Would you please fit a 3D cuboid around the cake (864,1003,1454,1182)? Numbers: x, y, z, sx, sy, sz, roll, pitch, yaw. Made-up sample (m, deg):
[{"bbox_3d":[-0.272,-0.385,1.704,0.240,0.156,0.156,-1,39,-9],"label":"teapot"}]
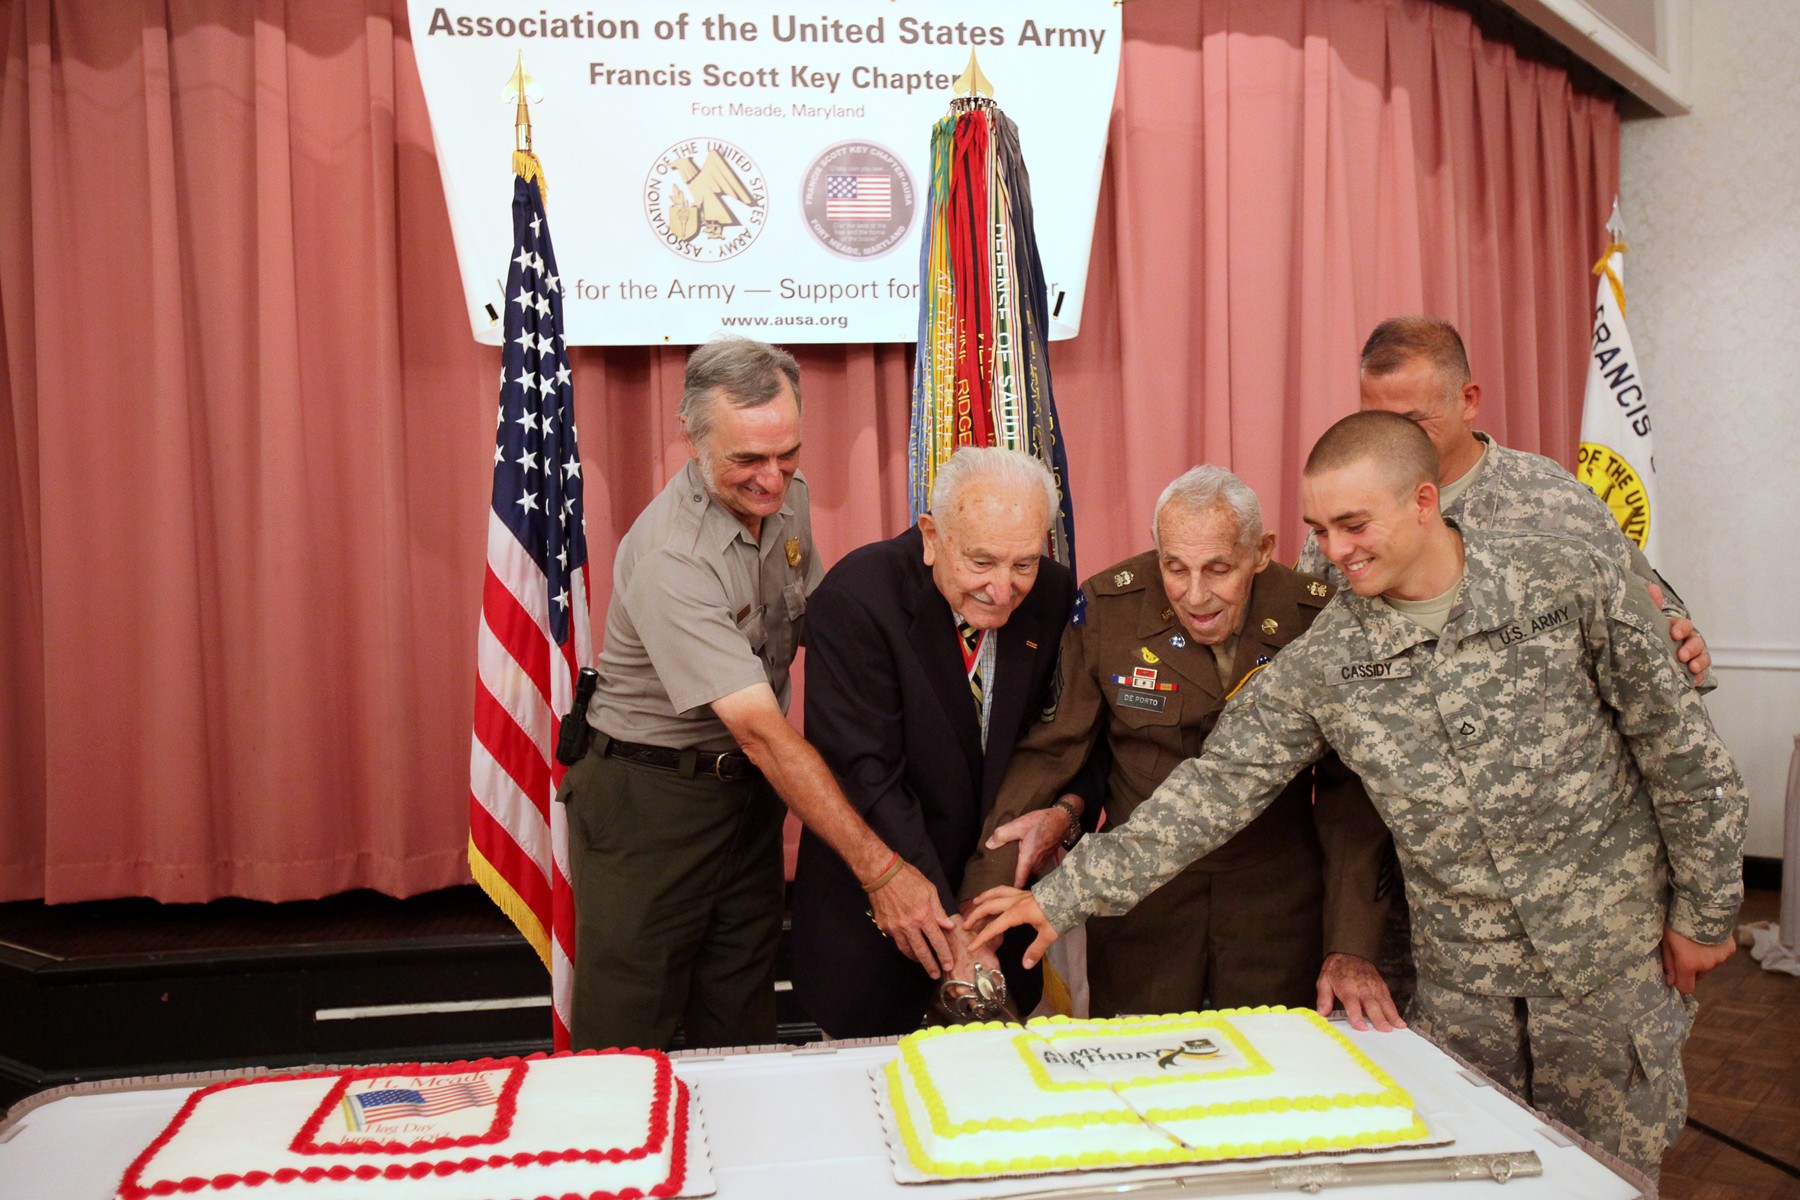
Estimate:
[{"bbox_3d":[0.557,1.096,3.508,0.808,0.113,0.462,-1,12,-5],"label":"cake"}]
